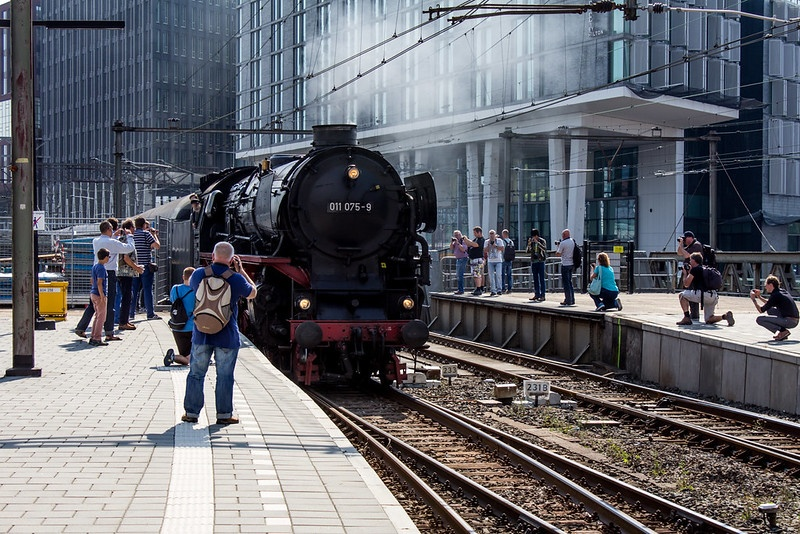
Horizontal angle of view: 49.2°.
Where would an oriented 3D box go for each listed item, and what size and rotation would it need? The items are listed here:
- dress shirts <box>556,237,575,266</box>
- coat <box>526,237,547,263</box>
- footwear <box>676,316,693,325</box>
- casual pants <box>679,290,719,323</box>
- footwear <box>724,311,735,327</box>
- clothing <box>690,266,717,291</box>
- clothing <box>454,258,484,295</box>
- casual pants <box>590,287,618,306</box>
[{"bbox_3d":[4.611,-0.387,24.249,0.361,0.755,0.564,-1,3,-4],"label":"dress shirts"},{"bbox_3d":[4.024,-0.467,25.733,0.505,0.750,0.807,-1,3,9],"label":"coat"},{"bbox_3d":[6.355,1.229,19.446,0.444,0.218,0.147,1,0,17],"label":"footwear"},{"bbox_3d":[6.869,0.893,19.919,0.788,0.908,0.828,3,-5,-5],"label":"casual pants"},{"bbox_3d":[7.542,1.209,19.952,0.103,0.284,0.112,-19,18,-9],"label":"footwear"},{"bbox_3d":[6.964,0.268,19.824,0.595,0.623,0.485,-5,-5,36],"label":"clothing"},{"bbox_3d":[2.294,0.370,29.831,1.138,1.332,1.106,8,-9,-32],"label":"clothing"},{"bbox_3d":[5.249,0.801,22.564,0.443,0.689,0.680,3,-6,-22],"label":"casual pants"}]
